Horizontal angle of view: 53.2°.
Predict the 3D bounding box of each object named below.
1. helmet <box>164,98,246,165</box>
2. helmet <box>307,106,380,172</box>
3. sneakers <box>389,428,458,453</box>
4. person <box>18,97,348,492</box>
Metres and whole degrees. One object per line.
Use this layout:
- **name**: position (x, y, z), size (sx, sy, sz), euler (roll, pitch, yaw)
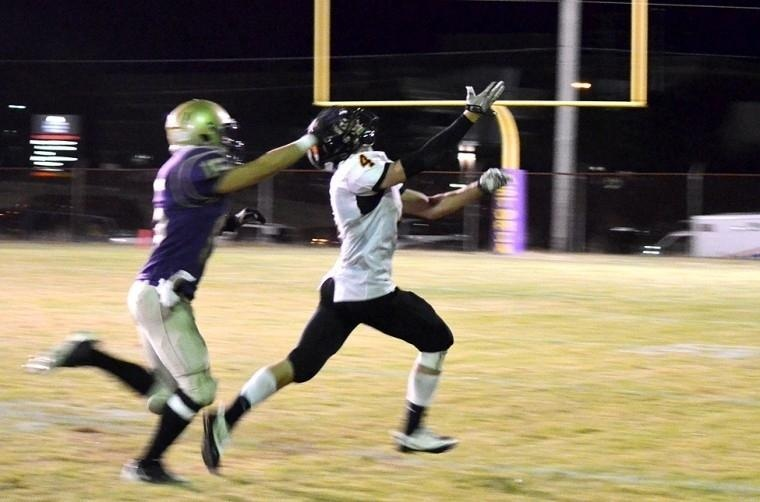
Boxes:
- **helmet**: position (-1.221, -0.804, 4.983), size (0.552, 0.312, 0.394), euler (-13, 19, -41)
- **helmet**: position (-0.154, -0.788, 5.237), size (0.626, 0.347, 0.426), euler (7, 14, 25)
- **sneakers**: position (0.313, 1.334, 5.270), size (0.556, 0.149, 0.149), euler (0, -19, 2)
- **person**: position (-1.249, 0.220, 4.898), size (1.410, 2.428, 0.693), euler (5, 3, 21)
